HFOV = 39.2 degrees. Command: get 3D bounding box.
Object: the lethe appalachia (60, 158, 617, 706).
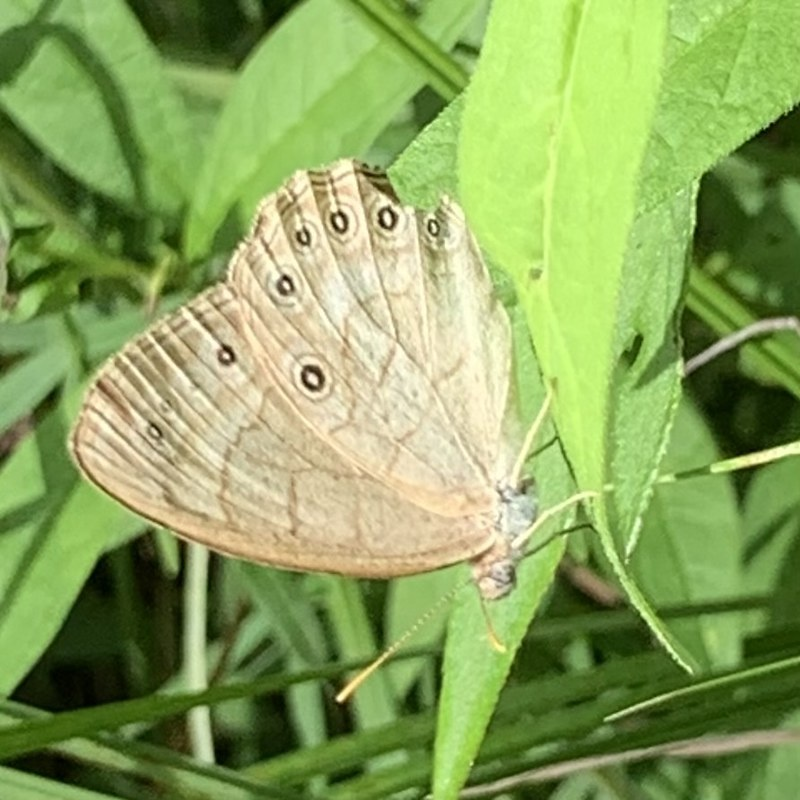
[{"bbox_3d":[-0.058,0.037,0.702,0.284,0.276,0.139,44,-27,-27],"label":"lethe appalachia"}]
